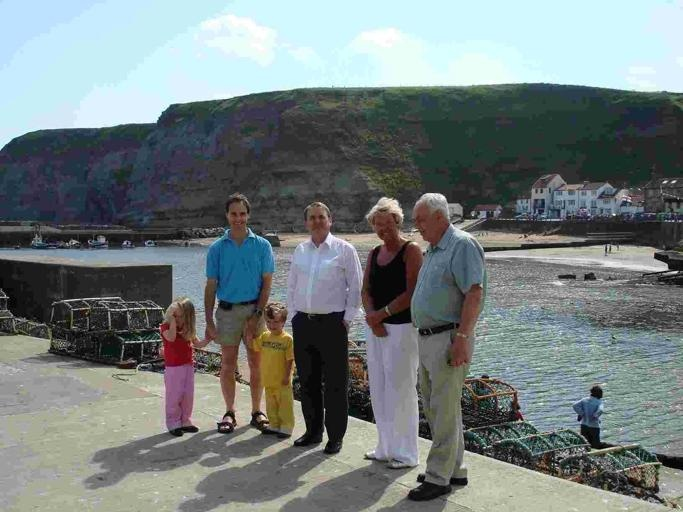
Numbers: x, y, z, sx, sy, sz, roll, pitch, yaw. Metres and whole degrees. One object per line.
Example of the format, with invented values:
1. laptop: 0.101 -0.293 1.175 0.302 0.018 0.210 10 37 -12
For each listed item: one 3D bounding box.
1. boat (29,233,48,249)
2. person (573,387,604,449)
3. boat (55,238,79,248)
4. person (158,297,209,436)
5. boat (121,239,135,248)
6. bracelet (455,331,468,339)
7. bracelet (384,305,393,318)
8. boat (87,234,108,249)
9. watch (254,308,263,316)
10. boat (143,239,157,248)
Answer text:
1. boat: -38.055 -1.880 99.075 1.708 1.925 4.966 -3 2 -20
2. person: 4.499 2.961 14.401 0.535 1.117 1.055 5 15 17
3. boat: -35.323 -1.505 102.533 2.792 0.939 2.068 -1 3 2
4. person: -2.075 1.413 10.229 0.430 1.582 0.762 -3 15 -13
5. boat: -27.546 -1.698 102.000 1.228 0.755 1.664 1 1 -7
6. bracelet: 1.334 0.872 8.770 0.085 0.036 0.072 33 -13 -36
7. bracelet: 0.553 0.647 9.351 0.036 0.113 0.118 -15 22 1
8. boat: -32.230 -1.882 104.330 1.638 1.930 5.470 0 -1 -29
9. watch: -1.085 0.737 10.460 0.084 0.044 0.083 -2 9 -41
10. boat: -25.220 -1.761 104.783 1.203 0.947 1.701 -11 7 -33
